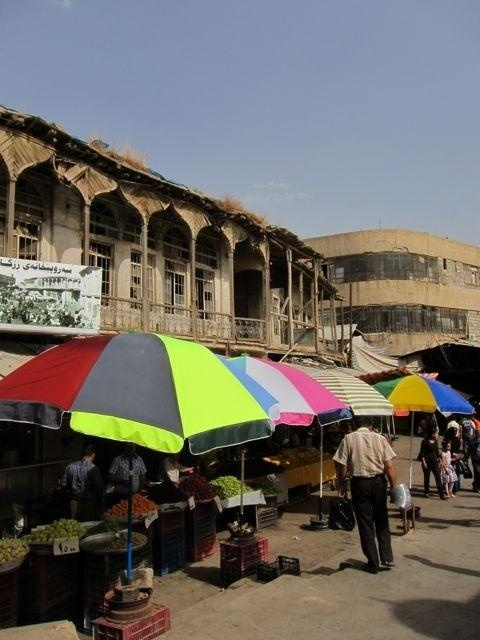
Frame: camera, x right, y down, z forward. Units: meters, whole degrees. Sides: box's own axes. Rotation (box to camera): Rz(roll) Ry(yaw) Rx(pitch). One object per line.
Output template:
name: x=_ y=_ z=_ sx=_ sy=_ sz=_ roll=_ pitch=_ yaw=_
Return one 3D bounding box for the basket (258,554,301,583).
basket: x=0.435 y=2.751 z=7.258 sx=0.255 sy=0.215 sz=0.466 roll=-4 pitch=-3 yaw=35

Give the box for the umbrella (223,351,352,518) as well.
umbrella: x=0.472 y=1.433 z=9.923 sx=2.133 sy=1.334 sz=2.093 roll=1 pitch=2 yaw=-1

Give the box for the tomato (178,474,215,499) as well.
tomato: x=-0.588 y=2.195 z=8.495 sx=0.376 sy=0.191 sz=0.289 roll=24 pitch=10 yaw=16

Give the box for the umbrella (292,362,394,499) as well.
umbrella: x=1.783 y=1.728 z=11.447 sx=1.550 sy=0.939 sz=1.446 roll=15 pitch=-1 yaw=-25

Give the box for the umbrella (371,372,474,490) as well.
umbrella: x=3.346 y=1.783 z=12.143 sx=1.439 sy=1.145 sz=1.407 roll=2 pitch=0 yaw=31

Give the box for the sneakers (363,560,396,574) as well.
sneakers: x=1.524 y=2.704 z=7.110 sx=0.348 sy=0.140 sz=0.123 roll=-17 pitch=-4 yaw=4
